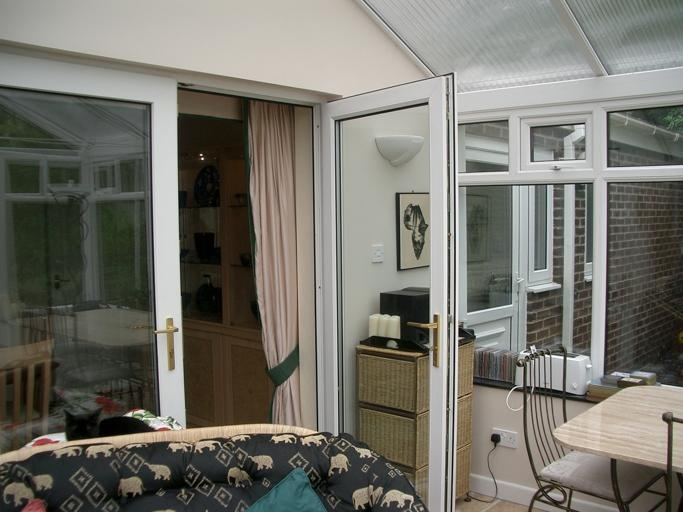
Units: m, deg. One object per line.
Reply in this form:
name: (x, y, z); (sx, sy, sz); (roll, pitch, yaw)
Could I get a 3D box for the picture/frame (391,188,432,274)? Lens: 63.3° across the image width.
picture/frame: (0.442, -0.140, 3.361); (0.102, 0.486, 0.320); (-2, 4, -24)

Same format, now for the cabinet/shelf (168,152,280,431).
cabinet/shelf: (-1.040, 0.335, 4.743); (0.302, 2.386, 1.136); (-5, 6, -44)

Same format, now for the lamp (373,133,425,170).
lamp: (0.365, -0.640, 3.358); (0.120, 0.195, 0.397); (-3, 5, -32)

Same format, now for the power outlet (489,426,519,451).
power outlet: (1.142, 1.274, 3.867); (0.170, 0.134, 0.024); (4, 5, 38)

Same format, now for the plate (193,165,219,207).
plate: (-1.171, -0.609, 4.876); (0.021, 0.333, 0.274); (0, 19, -43)

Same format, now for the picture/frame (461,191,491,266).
picture/frame: (1.005, -0.219, 4.066); (0.183, 0.585, 0.062); (3, 8, 34)

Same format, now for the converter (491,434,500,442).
converter: (1.078, 1.276, 3.877); (0.046, 0.052, 0.015); (-4, -4, 35)
